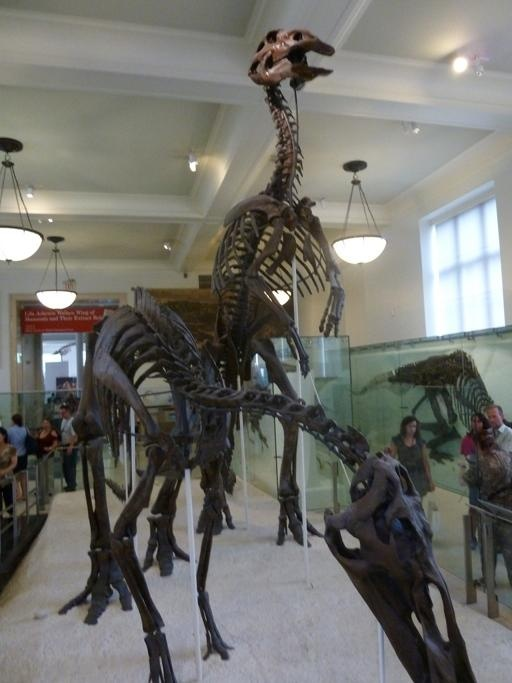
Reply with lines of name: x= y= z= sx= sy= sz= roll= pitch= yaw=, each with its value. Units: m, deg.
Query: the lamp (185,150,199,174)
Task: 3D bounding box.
lamp: x=-0.599 y=-1.620 z=4.885 sx=0.113 sy=0.141 sz=0.352 roll=-4 pitch=-42 yaw=-9

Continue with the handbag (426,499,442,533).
handbag: x=1.107 y=1.108 z=3.224 sx=0.086 sy=0.220 sz=0.249 roll=-4 pitch=-2 yaw=18

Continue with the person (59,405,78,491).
person: x=-2.345 y=1.361 z=6.480 sx=0.183 sy=1.116 sz=0.547 roll=-3 pitch=-2 yaw=-22
